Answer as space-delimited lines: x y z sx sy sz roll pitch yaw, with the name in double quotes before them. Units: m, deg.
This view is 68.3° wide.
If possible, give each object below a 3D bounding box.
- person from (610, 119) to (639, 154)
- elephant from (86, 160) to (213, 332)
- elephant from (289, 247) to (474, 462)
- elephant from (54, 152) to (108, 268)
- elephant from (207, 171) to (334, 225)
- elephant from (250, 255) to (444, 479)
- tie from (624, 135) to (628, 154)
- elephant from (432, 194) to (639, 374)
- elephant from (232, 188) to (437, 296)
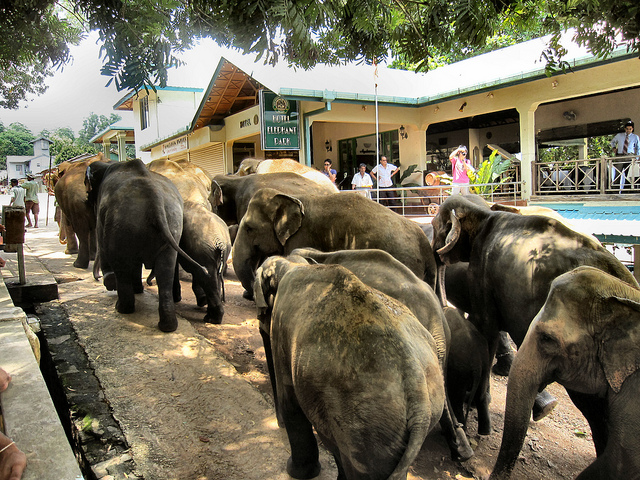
"person" 7.402 -2.395 11.308 0.506 0.718 0.739 2 5 24
"elephant" -2.086 0.015 5.584 0.914 1.924 1.668 -4 6 -39
"elephant" 0.474 0.502 3.687 0.820 1.316 2.040 -7 14 -27
"elephant" -4.656 -0.617 9.149 1.045 1.909 2.912 -1 10 -39
"elephant" -0.681 -0.614 5.930 1.418 0.842 0.678 10 13 35
"elephant" 0.120 0.925 2.737 0.631 1.561 1.140 -3 6 -32
"tie" 7.320 -2.277 11.273 0.049 0.417 0.143 1 5 16
"elephant" 1.783 0.236 4.287 0.861 1.246 1.974 -8 15 -20
"elephant" 0.083 0.194 4.583 2.128 1.342 0.759 5 12 21
